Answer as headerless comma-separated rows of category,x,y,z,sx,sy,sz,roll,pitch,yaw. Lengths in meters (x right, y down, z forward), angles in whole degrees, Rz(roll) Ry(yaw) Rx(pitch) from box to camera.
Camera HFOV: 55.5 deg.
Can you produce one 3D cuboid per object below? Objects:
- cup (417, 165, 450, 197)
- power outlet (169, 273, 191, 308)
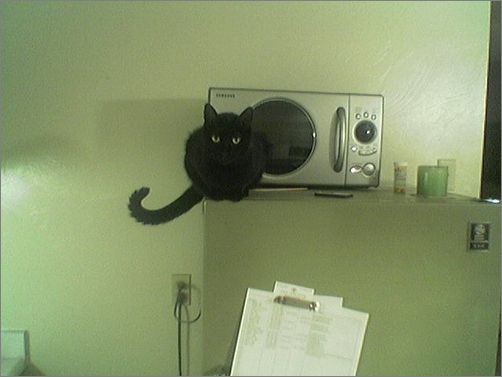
cup,0.551,-0.020,1.441,0.082,0.102,0.089,1,-1,0
power outlet,-0.262,0.392,1.817,0.089,0.139,0.014,-1,-1,14
